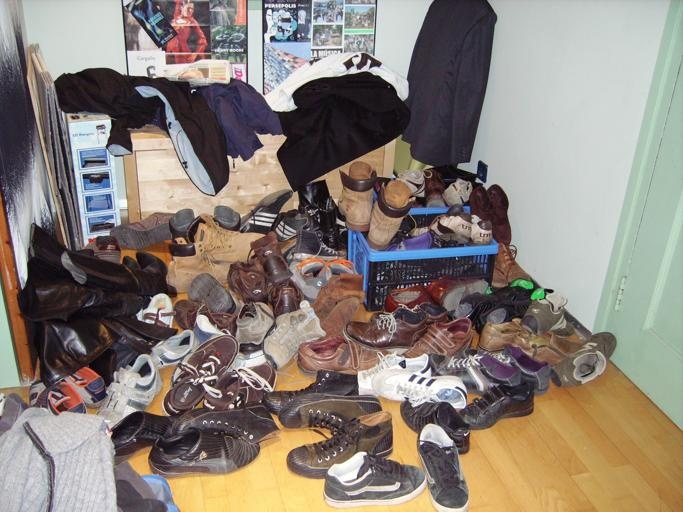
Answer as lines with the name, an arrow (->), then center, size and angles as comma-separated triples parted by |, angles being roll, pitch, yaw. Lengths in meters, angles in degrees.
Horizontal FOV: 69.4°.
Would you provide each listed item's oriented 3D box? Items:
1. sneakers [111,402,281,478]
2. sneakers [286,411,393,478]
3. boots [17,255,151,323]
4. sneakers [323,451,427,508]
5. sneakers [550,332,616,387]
sneakers -> -0.601, 0.763, 2.035 | 0.551, 0.169, 0.288 | -6, 58, -14
sneakers -> 0.011, 0.777, 2.064 | 0.495, 0.199, 0.171 | -3, 6, -22
boots -> -1.196, 0.132, 2.398 | 0.643, 0.261, 0.318 | -10, 31, -28
sneakers -> 0.118, 0.890, 1.919 | 0.429, 0.186, 0.173 | -3, 37, -6
sneakers -> 1.227, 0.536, 2.499 | 0.272, 0.109, 0.121 | -29, 11, 3
